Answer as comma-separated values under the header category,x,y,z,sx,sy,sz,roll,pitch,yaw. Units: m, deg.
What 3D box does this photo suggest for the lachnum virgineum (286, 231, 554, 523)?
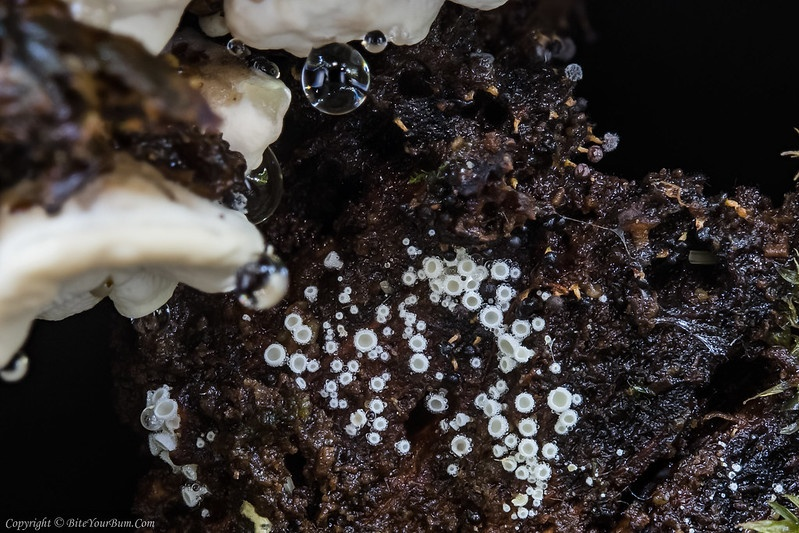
category,x,y,z,sx,sy,sz,roll,pitch,yaw
lachnum virgineum,0.266,0.796,7.399,1.998,2.268,0.719,-3,-2,4

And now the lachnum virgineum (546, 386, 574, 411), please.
category,x,y,z,sx,sy,sz,roll,pitch,yaw
lachnum virgineum,1.269,1.055,7.265,0.200,0.154,0.112,-26,34,-8

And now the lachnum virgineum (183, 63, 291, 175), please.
category,x,y,z,sx,sy,sz,roll,pitch,yaw
lachnum virgineum,-1.116,-1.234,7.072,0.794,0.744,0.591,24,43,31

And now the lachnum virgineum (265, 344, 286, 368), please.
category,x,y,z,sx,sy,sz,roll,pitch,yaw
lachnum virgineum,-0.997,0.722,7.427,0.173,0.156,0.099,-26,34,-8

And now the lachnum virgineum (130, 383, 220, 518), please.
category,x,y,z,sx,sy,sz,roll,pitch,yaw
lachnum virgineum,-1.724,1.421,7.616,0.577,1.034,0.488,22,44,34
